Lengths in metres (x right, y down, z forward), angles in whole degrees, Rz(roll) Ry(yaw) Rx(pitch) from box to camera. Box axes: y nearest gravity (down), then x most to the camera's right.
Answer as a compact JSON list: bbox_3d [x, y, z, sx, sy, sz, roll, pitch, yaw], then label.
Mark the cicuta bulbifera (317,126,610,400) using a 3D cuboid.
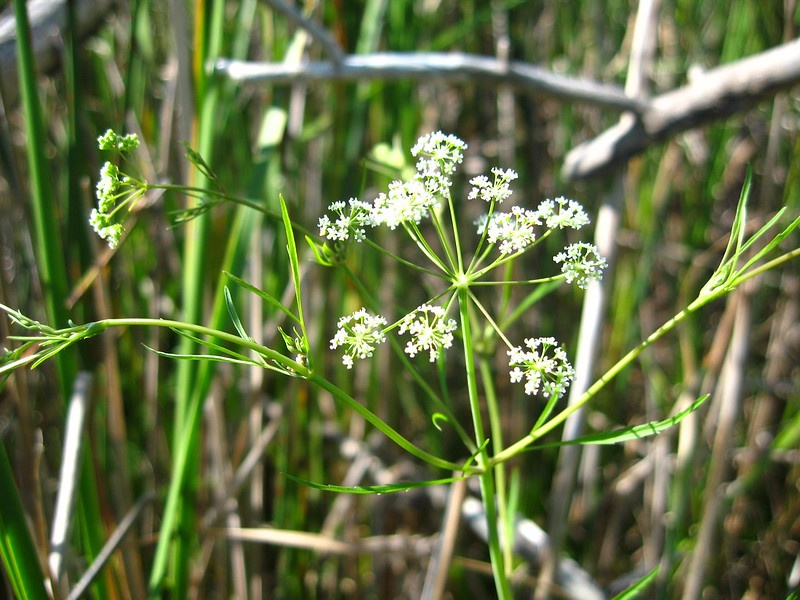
[{"bbox_3d":[0.228,-0.062,2.547,0.692,0.848,1.198,1,12,13],"label":"cicuta bulbifera"}]
